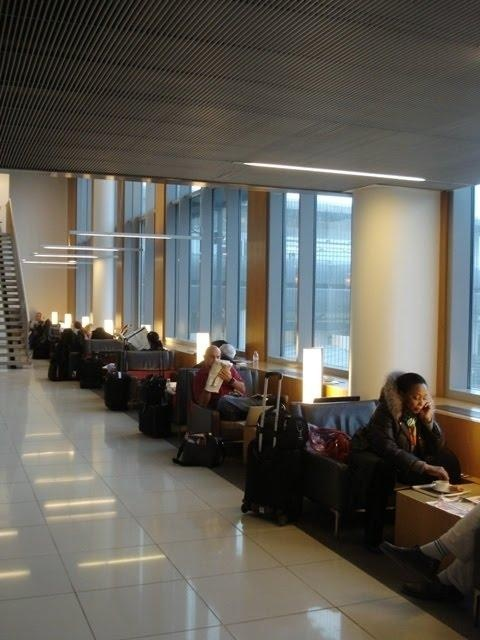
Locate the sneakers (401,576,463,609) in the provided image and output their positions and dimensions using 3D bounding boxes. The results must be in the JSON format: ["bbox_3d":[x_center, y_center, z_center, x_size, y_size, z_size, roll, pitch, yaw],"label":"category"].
[{"bbox_3d":[1.052,1.468,2.838,0.331,0.157,0.126,6,-6,8],"label":"sneakers"}]

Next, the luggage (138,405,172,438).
[{"bbox_3d":[-1.152,1.306,7.102,0.354,0.481,0.643,3,0,-29],"label":"luggage"}]

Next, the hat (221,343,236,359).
[{"bbox_3d":[-0.185,0.459,7.373,0.206,0.080,0.188,36,10,13],"label":"hat"}]

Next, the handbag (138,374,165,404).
[{"bbox_3d":[-1.206,0.896,7.152,0.302,0.540,0.527,0,3,-26],"label":"handbag"}]

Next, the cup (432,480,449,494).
[{"bbox_3d":[1.303,1.078,3.403,0.066,0.060,0.083,3,-7,-45],"label":"cup"}]

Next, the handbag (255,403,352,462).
[{"bbox_3d":[0.567,0.974,4.103,0.561,0.193,0.427,22,7,32],"label":"handbag"}]

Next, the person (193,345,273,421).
[{"bbox_3d":[-0.198,0.814,6.127,0.736,1.085,0.783,3,-26,-34],"label":"person"}]

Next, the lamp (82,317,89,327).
[{"bbox_3d":[-5.423,0.091,18.475,0.298,0.360,0.307,7,11,36],"label":"lamp"}]

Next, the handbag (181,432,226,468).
[{"bbox_3d":[-0.332,1.368,5.685,0.415,0.355,0.371,-6,9,33],"label":"handbag"}]

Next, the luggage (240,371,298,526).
[{"bbox_3d":[0.288,0.966,4.135,0.451,1.156,0.331,5,3,38],"label":"luggage"}]

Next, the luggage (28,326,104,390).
[{"bbox_3d":[-4.261,0.968,12.943,1.022,1.064,3.115,4,3,-27],"label":"luggage"}]

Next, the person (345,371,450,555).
[{"bbox_3d":[1.168,1.009,3.896,0.824,1.237,0.861,-1,-3,33],"label":"person"}]
